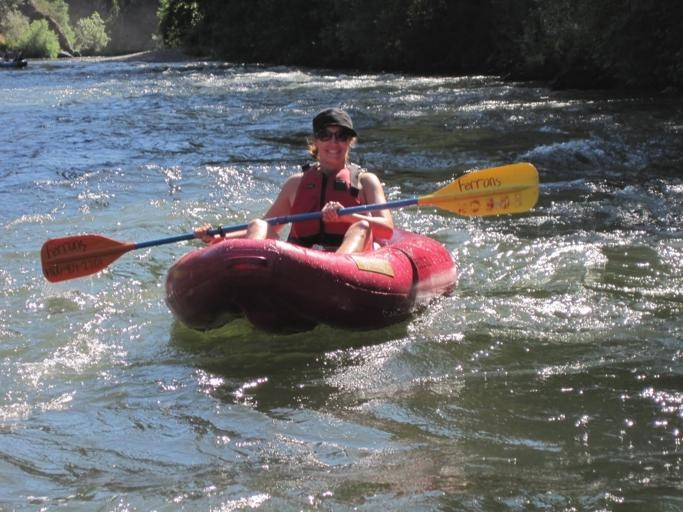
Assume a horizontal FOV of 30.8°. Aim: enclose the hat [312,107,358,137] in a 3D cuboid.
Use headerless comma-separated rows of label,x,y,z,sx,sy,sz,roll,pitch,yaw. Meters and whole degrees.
hat,-0.124,-1.448,13.414,0.319,0.212,0.391,2,-19,-1
